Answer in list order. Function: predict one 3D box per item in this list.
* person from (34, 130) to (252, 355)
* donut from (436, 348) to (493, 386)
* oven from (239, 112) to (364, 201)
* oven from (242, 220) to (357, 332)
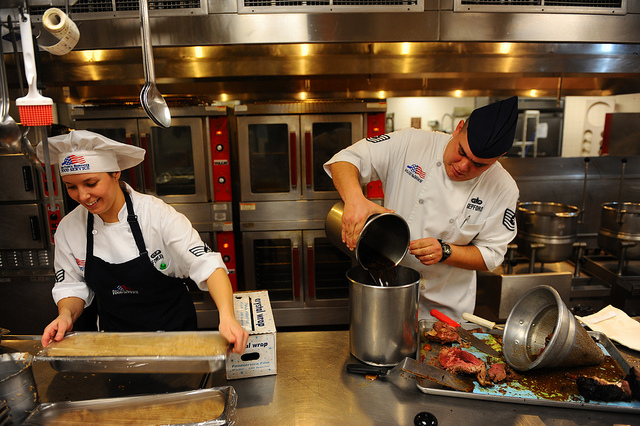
[{"bbox_3d":[-1.194,0.189,3.638,1.158,1.454,0.841,4,10,-4],"label":"person"},{"bbox_3d":[0.817,0.848,3.055,0.337,0.081,0.198,27,37,35],"label":"donut"},{"bbox_3d":[-0.156,-0.469,5.287,1.222,1.083,0.466,-2,-4,5],"label":"oven"},{"bbox_3d":[-0.169,0.572,5.581,1.187,1.129,0.682,-2,7,-4],"label":"oven"}]
